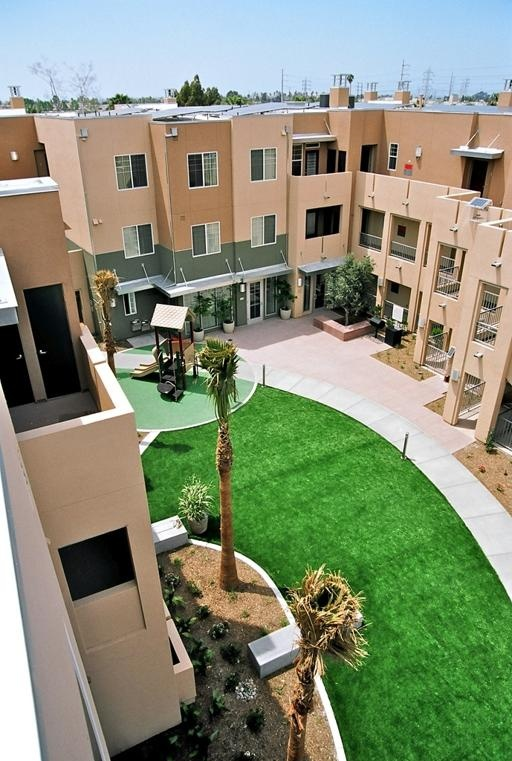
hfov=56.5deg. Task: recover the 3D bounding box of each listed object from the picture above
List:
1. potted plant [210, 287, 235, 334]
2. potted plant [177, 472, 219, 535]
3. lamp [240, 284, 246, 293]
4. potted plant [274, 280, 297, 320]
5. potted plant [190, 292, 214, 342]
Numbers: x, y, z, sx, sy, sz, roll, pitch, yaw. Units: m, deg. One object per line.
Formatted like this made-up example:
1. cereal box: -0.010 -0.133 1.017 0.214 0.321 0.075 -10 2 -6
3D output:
1. potted plant: -2.401 -5.102 33.713 1.729 2.900 1.060 -5 20 -8
2. potted plant: -2.402 5.232 18.930 1.407 1.667 1.141 -8 -3 2
3. lamp: -0.970 -6.463 33.478 0.501 0.851 0.505 1 11 2
4. potted plant: 2.132 -6.123 35.876 1.406 2.948 1.043 0 20 4
5. potted plant: -3.853 -4.466 33.077 0.988 3.102 1.758 13 25 36
